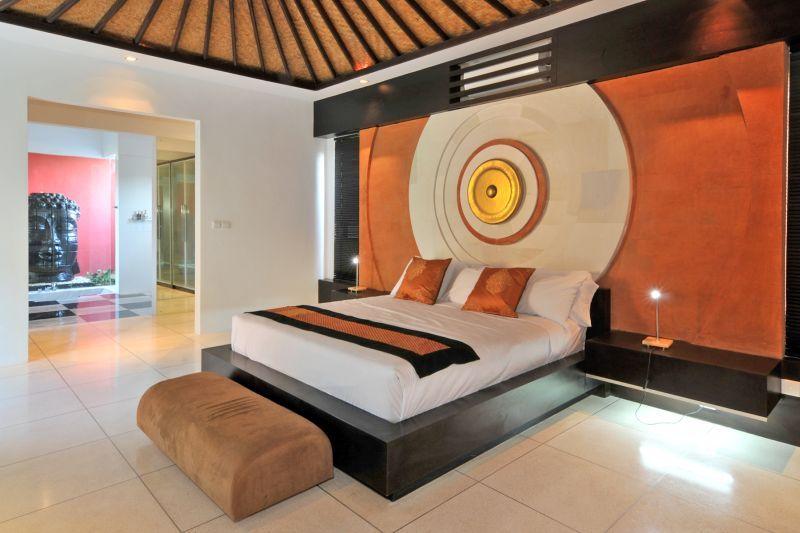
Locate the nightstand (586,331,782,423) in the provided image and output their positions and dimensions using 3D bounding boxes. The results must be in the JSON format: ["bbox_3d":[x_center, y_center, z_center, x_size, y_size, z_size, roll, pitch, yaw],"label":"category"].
[{"bbox_3d":[2.475,0.910,4.225,1.483,0.369,0.461,9,16,31],"label":"nightstand"}]

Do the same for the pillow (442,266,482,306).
[{"bbox_3d":[0.696,0.152,5.527,0.539,0.563,0.149,-7,53,1],"label":"pillow"}]

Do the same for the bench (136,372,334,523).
[{"bbox_3d":[-1.359,1.255,3.746,1.660,0.452,0.855,11,11,43],"label":"bench"}]
